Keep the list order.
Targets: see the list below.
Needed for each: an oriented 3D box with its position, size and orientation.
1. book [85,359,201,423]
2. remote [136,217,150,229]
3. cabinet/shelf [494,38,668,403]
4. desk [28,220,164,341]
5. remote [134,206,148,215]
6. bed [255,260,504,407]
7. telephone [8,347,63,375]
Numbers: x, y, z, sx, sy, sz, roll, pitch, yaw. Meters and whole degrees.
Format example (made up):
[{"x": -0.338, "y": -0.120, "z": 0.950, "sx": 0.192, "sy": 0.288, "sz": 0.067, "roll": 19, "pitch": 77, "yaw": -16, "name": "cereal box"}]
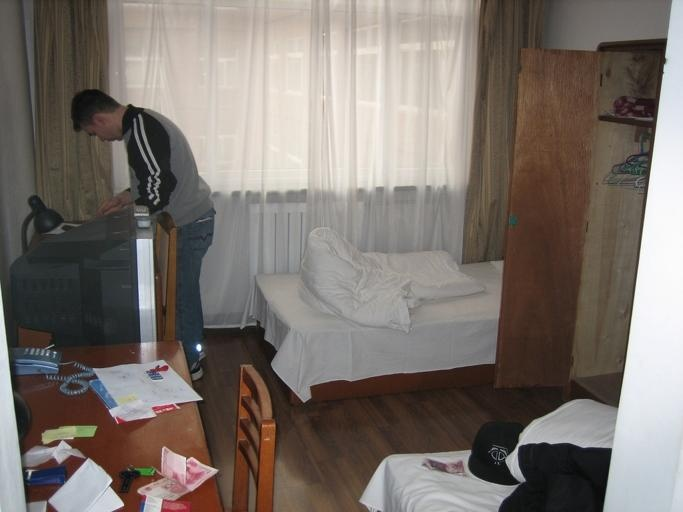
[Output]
[{"x": -0.656, "y": 0.437, "z": 1.815, "sx": 0.186, "sy": 0.029, "sz": 0.202, "roll": -8, "pitch": 28, "yaw": -36, "name": "book"}, {"x": -0.752, "y": -0.127, "z": 2.084, "sx": 0.042, "sy": 0.046, "sz": 0.029, "roll": 1, "pitch": -1, "yaw": -9, "name": "remote"}, {"x": 1.390, "y": -0.193, "z": 3.342, "sx": 0.793, "sy": 2.103, "sz": 0.570, "roll": 4, "pitch": 14, "yaw": 11, "name": "cabinet/shelf"}, {"x": -1.003, "y": 0.072, "z": 2.299, "sx": 0.429, "sy": 0.489, "sz": 0.465, "roll": -1, "pitch": 6, "yaw": -12, "name": "desk"}, {"x": -0.767, "y": -0.170, "z": 2.100, "sx": 0.053, "sy": 0.040, "sz": 0.030, "roll": 1, "pitch": -23, "yaw": -19, "name": "remote"}, {"x": 0.272, "y": 0.495, "z": 3.471, "sx": 1.204, "sy": 0.316, "sz": 0.843, "roll": -5, "pitch": 20, "yaw": -13, "name": "bed"}, {"x": -1.043, "y": 0.358, "z": 1.894, "sx": 0.119, "sy": 0.037, "sz": 0.104, "roll": 5, "pitch": 17, "yaw": -21, "name": "telephone"}]
